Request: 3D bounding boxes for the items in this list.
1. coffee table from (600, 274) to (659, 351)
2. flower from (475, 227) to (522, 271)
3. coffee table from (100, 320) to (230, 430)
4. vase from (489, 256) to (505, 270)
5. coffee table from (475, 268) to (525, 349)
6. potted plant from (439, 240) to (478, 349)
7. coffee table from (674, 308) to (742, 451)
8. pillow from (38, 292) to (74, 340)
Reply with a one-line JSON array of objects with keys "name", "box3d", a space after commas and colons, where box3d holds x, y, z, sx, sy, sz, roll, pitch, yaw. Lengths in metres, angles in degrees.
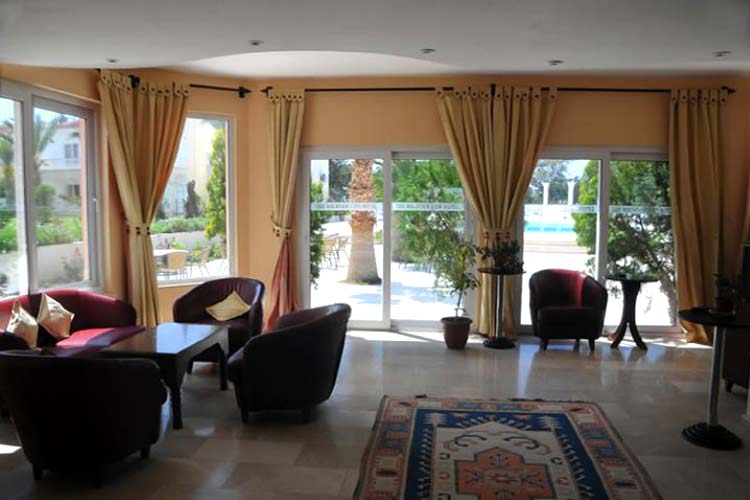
[{"name": "coffee table", "box3d": [3.495, 0.838, 7.479, 0.913, 1.226, 0.932, 0, -2, 17]}, {"name": "flower", "box3d": [1.727, 0.006, 7.397, 0.553, 0.462, 0.633, 1, 4, 10]}, {"name": "coffee table", "box3d": [-2.207, 1.491, 5.467, 0.789, 0.672, 1.420, 3, 7, 10]}, {"name": "vase", "box3d": [1.714, 0.183, 7.322, 0.149, 0.113, 0.151, 0, 9, 4]}, {"name": "coffee table", "box3d": [1.737, 0.778, 7.384, 0.564, 1.113, 0.664, 1, 13, 4]}, {"name": "potted plant", "box3d": [1.216, 0.599, 7.515, 0.496, 1.349, 1.119, 2, 13, 10]}, {"name": "coffee table", "box3d": [3.215, 1.156, 5.091, 0.629, 1.196, 0.923, 5, 14, 22]}, {"name": "pillow", "box3d": [-3.613, 0.739, 5.909, 0.319, 0.477, 0.394, -7, 14, -28]}]
